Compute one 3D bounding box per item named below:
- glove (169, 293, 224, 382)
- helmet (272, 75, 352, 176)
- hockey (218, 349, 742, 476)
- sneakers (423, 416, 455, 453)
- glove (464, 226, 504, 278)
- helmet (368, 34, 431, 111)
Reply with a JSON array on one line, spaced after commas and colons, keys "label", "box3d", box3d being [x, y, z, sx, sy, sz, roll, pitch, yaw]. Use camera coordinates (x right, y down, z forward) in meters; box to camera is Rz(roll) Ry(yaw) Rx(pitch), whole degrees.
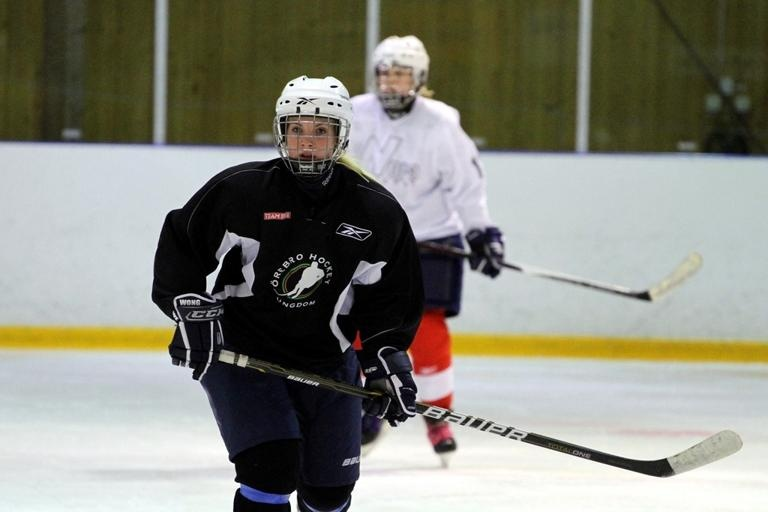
[{"label": "glove", "box3d": [-0.780, 0.330, 4.828, 0.252, 0.363, 0.261, -4, -6, 26]}, {"label": "helmet", "box3d": [-0.298, -0.553, 4.935, 0.306, 0.423, 0.414, 2, 4, -1]}, {"label": "hockey", "box3d": [0.386, 0.646, 4.917, 2.530, 0.302, 0.284, 13, -10, -18]}, {"label": "sneakers", "box3d": [0.286, 0.935, 6.012, 0.138, 0.227, 0.234, -15, -14, 0]}, {"label": "glove", "box3d": [0.551, -0.033, 6.137, 0.242, 0.244, 0.104, -6, -6, -37]}, {"label": "helmet", "box3d": [0.092, -0.997, 6.324, 0.317, 0.415, 0.425, 2, 9, 22]}]
